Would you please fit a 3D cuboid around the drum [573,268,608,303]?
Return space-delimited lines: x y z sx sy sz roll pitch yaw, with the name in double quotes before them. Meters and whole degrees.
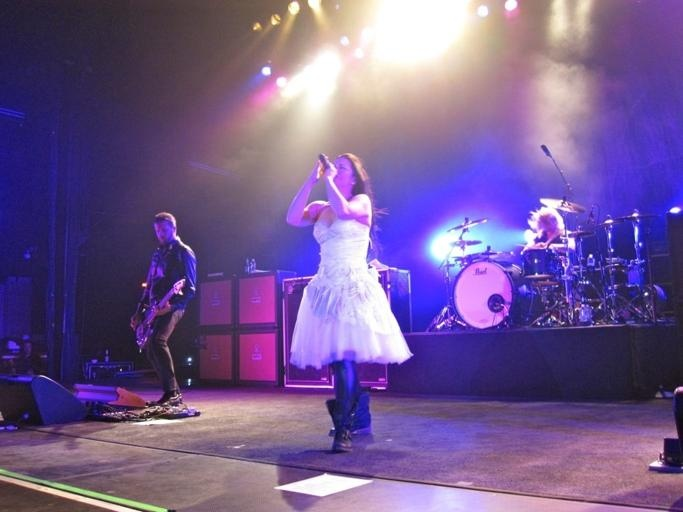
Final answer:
"drum" 3.314 0.447 7.074 0.280 0.478 0.298 -5 1 0

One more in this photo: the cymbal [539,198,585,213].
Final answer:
"cymbal" 2.972 -0.698 7.093 0.343 0.086 0.343 -6 20 -37

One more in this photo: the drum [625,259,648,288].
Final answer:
"drum" 3.963 0.237 6.970 0.175 0.365 0.535 -7 -8 38

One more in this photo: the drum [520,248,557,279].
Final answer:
"drum" 2.590 0.098 6.763 0.352 0.280 0.356 0 -12 0

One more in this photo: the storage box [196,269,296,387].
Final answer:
"storage box" -1.513 1.218 8.449 1.762 1.942 0.632 -3 -1 34

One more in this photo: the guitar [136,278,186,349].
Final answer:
"guitar" -1.906 0.588 5.366 0.545 0.683 0.194 -4 -6 16

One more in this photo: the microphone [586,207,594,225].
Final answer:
"microphone" 3.674 -0.601 7.684 0.083 0.344 0.082 -16 -44 26

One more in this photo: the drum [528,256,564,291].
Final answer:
"drum" 2.651 0.243 6.899 0.401 0.418 0.421 1 -18 -14

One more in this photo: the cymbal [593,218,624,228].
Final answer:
"cymbal" 3.612 -0.458 7.030 0.313 0.147 0.296 -6 -7 31

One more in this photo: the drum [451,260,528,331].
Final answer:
"drum" 1.980 0.493 7.361 1.100 1.269 0.728 -6 -7 41

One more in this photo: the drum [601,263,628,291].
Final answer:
"drum" 3.613 0.253 6.882 0.344 0.357 0.221 1 -7 -25

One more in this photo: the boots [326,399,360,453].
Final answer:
"boots" 0.017 1.171 3.627 0.145 0.321 0.429 -1 2 9

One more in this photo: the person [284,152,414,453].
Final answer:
"person" 0.026 0.262 3.766 0.809 2.147 0.545 -1 -6 -7

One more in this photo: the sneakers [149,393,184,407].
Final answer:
"sneakers" -1.760 1.453 5.215 0.344 0.154 0.119 11 -22 -23
